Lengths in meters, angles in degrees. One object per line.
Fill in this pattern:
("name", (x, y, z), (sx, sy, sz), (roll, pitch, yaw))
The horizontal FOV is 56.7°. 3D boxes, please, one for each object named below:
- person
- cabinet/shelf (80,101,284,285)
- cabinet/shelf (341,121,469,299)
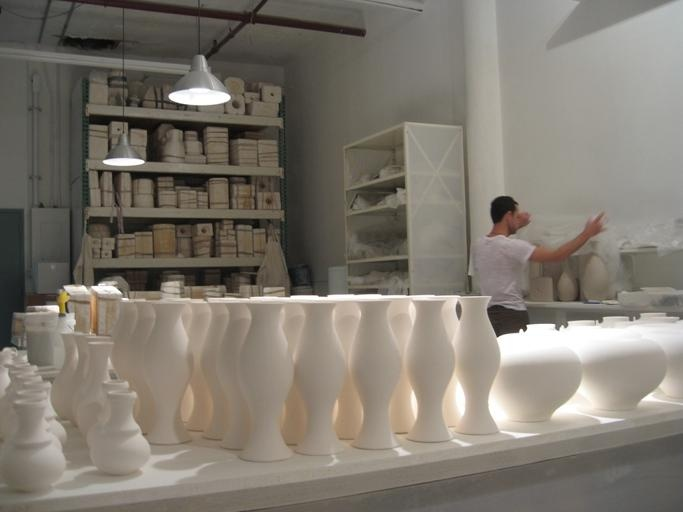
("person", (1.106, 0.039, 4.002), (0.588, 0.820, 0.763), (1, 7, -12))
("cabinet/shelf", (-1.693, -0.677, 6.599), (1.596, 1.802, 0.535), (4, -9, -27))
("cabinet/shelf", (0.563, -0.334, 5.311), (0.655, 1.500, 1.210), (-1, 8, -31))
